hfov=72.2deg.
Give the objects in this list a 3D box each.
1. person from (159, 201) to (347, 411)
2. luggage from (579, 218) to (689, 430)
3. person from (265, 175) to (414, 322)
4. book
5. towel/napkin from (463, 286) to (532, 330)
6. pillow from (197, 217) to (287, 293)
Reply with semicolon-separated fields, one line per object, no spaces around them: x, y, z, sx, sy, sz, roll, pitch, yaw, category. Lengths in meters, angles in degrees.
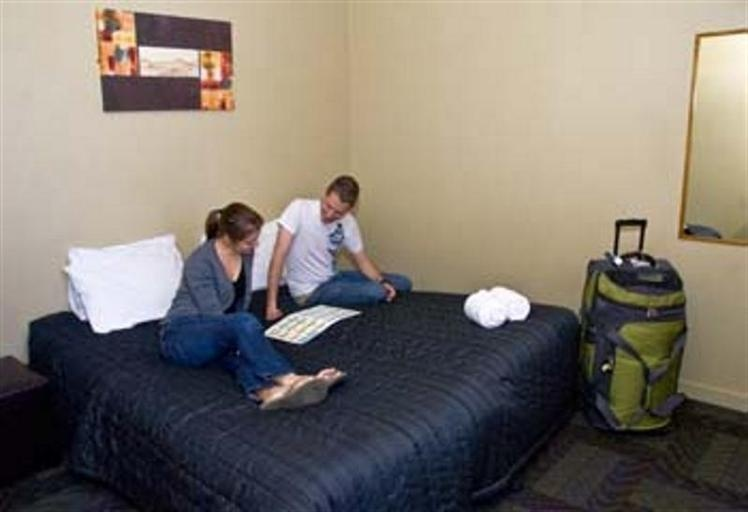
-0.643;0.205;2.561;0.498;0.908;1.127;5;8;-42;person
1.480;0.492;2.934;0.607;0.933;0.493;10;21;23;luggage
-0.203;-0.056;3.388;1.083;0.880;0.792;-4;15;-18;person
-0.354;0.388;2.934;0.237;0.046;0.324;5;14;38;book
0.651;0.277;2.935;0.272;0.149;0.248;-8;7;-26;towel/napkin
-0.872;0.000;3.530;0.154;0.506;0.513;1;-3;25;pillow
